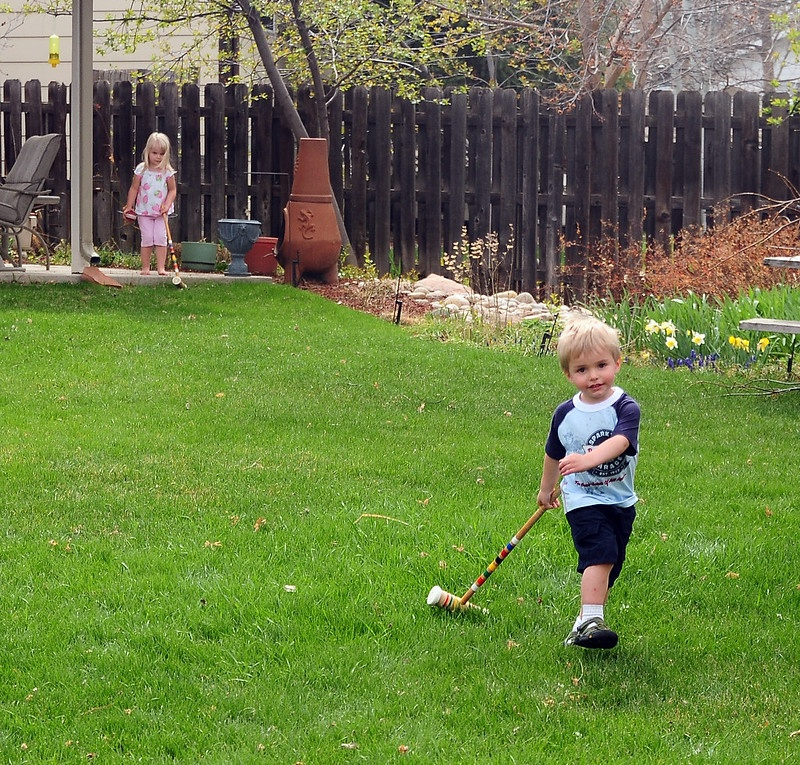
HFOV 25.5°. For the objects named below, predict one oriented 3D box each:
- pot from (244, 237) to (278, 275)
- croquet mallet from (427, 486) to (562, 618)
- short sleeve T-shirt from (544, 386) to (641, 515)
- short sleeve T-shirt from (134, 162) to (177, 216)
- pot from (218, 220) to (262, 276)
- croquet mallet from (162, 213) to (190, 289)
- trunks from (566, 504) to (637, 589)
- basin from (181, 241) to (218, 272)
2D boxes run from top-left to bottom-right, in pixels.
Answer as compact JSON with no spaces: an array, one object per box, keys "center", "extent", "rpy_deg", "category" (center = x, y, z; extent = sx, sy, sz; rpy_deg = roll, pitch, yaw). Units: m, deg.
[{"center":[-1.510,-1.355,19.352],"extent":[0.338,0.415,0.340],"rpy_deg":[0,1,0],"category":"pot"},{"center":[0.645,1.203,12.077],"extent":[0.182,0.812,0.160],"rpy_deg":[34,1,-30],"category":"croquet mallet"},{"center":[1.258,0.504,11.629],"extent":[0.624,1.048,0.642],"rpy_deg":[-2,-7,7],"category":"short sleeve T-shirt"},{"center":[-2.531,-2.070,18.250],"extent":[0.369,0.603,0.370],"rpy_deg":[7,43,-3],"category":"short sleeve T-shirt"},{"center":[-1.694,-1.413,18.623],"extent":[0.419,0.588,0.388],"rpy_deg":[1,14,0],"category":"pot"},{"center":[-2.403,-1.399,19.005],"extent":[0.124,0.954,0.289],"rpy_deg":[-8,-5,0],"category":"croquet mallet"},{"center":[1.269,1.046,11.511],"extent":[0.465,0.755,0.416],"rpy_deg":[3,-10,-22],"category":"trunks"},{"center":[-2.160,-1.358,19.082],"extent":[0.268,0.246,0.329],"rpy_deg":[0,7,-5],"category":"basin"}]
